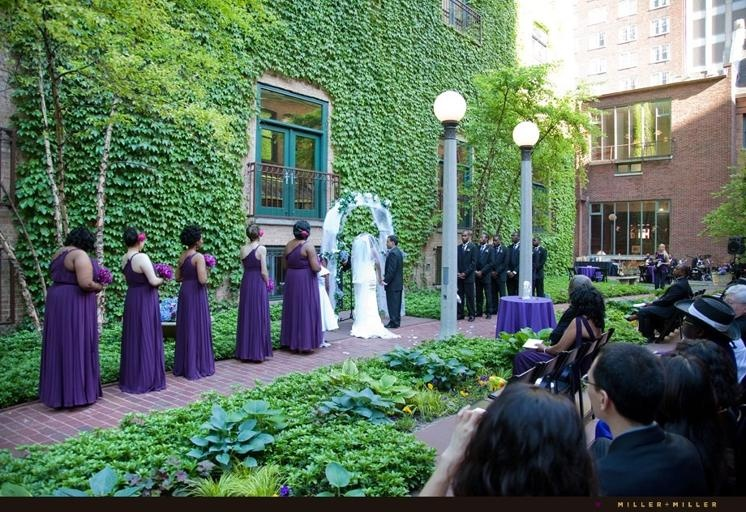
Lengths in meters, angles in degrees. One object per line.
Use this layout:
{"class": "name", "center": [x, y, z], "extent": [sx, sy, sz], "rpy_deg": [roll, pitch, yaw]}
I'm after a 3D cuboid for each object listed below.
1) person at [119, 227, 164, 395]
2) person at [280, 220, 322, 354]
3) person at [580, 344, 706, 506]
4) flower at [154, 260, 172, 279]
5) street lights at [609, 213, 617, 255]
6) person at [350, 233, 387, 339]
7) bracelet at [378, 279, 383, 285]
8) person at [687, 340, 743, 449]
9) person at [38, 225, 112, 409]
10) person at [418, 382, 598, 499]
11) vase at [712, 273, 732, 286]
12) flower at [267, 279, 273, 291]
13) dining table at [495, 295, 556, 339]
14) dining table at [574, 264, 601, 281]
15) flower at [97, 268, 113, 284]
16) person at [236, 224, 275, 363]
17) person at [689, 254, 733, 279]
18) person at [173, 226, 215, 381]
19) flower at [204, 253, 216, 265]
{"class": "person", "center": [-3.438, 0.788, 8.363], "extent": [0.615, 2.575, 0.365], "rpy_deg": [-1, 0, 16]}
{"class": "person", "center": [-1.320, 0.553, 10.291], "extent": [0.751, 2.238, 0.392], "rpy_deg": [-1, 0, -6]}
{"class": "person", "center": [2.370, 1.494, 4.874], "extent": [1.254, 1.188, 0.726], "rpy_deg": [-5, 5, -19]}
{"class": "flower", "center": [-3.183, 0.219, 8.605], "extent": [0.264, 0.236, 0.336], "rpy_deg": [10, -7, -23]}
{"class": "street lights", "center": [11.604, -1.099, 27.179], "extent": [0.324, 1.398, 0.587], "rpy_deg": [-1, 0, 22]}
{"class": "person", "center": [-0.116, 0.610, 11.624], "extent": [0.661, 1.931, 0.514], "rpy_deg": [-1, 0, -3]}
{"class": "bracelet", "center": [0.194, 0.586, 12.392], "extent": [0.082, 0.113, 0.043], "rpy_deg": [0, -2, 13]}
{"class": "person", "center": [3.429, 1.329, 5.540], "extent": [0.721, 0.914, 0.356], "rpy_deg": [-1, -2, -43]}
{"class": "person", "center": [-4.091, 0.849, 7.686], "extent": [0.834, 2.740, 0.415], "rpy_deg": [-1, 0, -22]}
{"class": "person", "center": [1.124, 1.483, 4.337], "extent": [0.857, 0.397, 1.230], "rpy_deg": [-2, -5, 37]}
{"class": "vase", "center": [13.163, 0.876, 21.177], "extent": [0.627, 0.467, 0.635], "rpy_deg": [-1, 2, 8]}
{"class": "flower", "center": [-1.788, 0.521, 9.957], "extent": [0.140, 0.154, 0.152], "rpy_deg": [3, -10, -33]}
{"class": "dining table", "center": [2.708, 1.090, 10.370], "extent": [0.827, 0.579, 0.850], "rpy_deg": [1, -5, -10]}
{"class": "dining table", "center": [7.286, 0.556, 18.941], "extent": [0.714, 0.704, 0.722], "rpy_deg": [-1, 0, -2]}
{"class": "flower", "center": [-3.679, 0.271, 7.790], "extent": [0.210, 0.213, 0.208], "rpy_deg": [2, -7, -11]}
{"class": "person", "center": [-2.084, 0.783, 9.777], "extent": [0.614, 2.248, 0.378], "rpy_deg": [-1, 0, -6]}
{"class": "person", "center": [14.106, 0.448, 23.472], "extent": [1.065, 0.541, 1.494], "rpy_deg": [0, 1, -4]}
{"class": "person", "center": [-2.839, 0.715, 8.957], "extent": [0.551, 2.473, 0.483], "rpy_deg": [-2, 1, -40]}
{"class": "flower", "center": [-2.827, 0.056, 9.775], "extent": [0.236, 0.192, 0.237], "rpy_deg": [0, 6, -3]}
